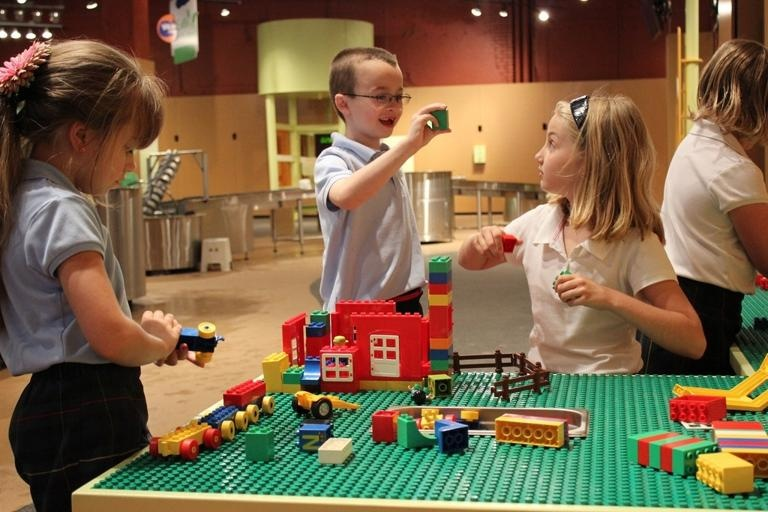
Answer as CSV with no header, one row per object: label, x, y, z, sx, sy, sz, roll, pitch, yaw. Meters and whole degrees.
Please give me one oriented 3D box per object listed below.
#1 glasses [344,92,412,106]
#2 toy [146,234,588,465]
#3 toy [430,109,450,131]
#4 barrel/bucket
glasses,-0.026,-0.598,2.474,0.252,0.050,0.128,-4,8,-9
toy,-0.027,0.233,1.764,0.787,0.297,0.624,-1,2,5
toy,0.181,-0.458,2.191,0.067,0.082,0.026,2,14,8
barrel/bucket,0.908,-0.881,11.271,0.988,1.199,1.096,1,11,19
